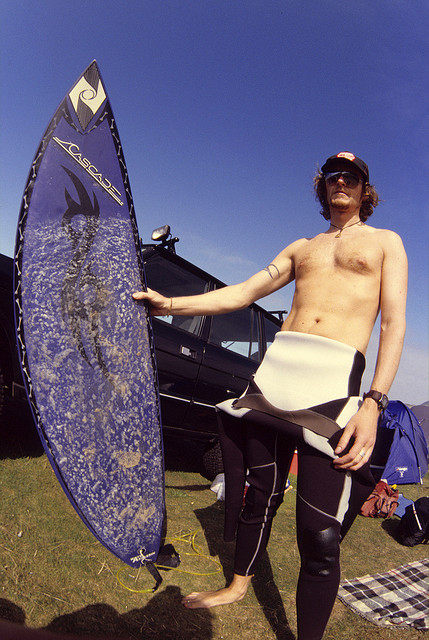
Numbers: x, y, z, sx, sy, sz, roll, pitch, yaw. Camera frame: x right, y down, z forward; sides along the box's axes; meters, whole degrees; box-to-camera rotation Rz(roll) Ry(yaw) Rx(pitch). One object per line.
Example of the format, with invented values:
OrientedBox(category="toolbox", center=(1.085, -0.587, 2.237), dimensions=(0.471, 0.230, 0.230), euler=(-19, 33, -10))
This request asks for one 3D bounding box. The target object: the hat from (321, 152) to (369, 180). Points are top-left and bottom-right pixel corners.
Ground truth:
OrientedBox(category="hat", center=(0.710, -0.860, 2.684), dimensions=(0.246, 0.129, 0.182), euler=(12, -1, 12))

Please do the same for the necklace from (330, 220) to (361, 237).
OrientedBox(category="necklace", center=(0.688, -0.495, 2.657), dimensions=(0.149, 0.105, 0.168), euler=(12, -1, 9))

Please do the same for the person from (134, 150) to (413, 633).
OrientedBox(category="person", center=(0.434, 0.256, 2.438), dimensions=(0.547, 2.298, 0.972), euler=(14, -1, -34))

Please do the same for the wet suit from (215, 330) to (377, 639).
OrientedBox(category="wet suit", center=(0.334, 0.675, 2.293), dimensions=(0.287, 1.335, 0.751), euler=(14, -1, -42))
